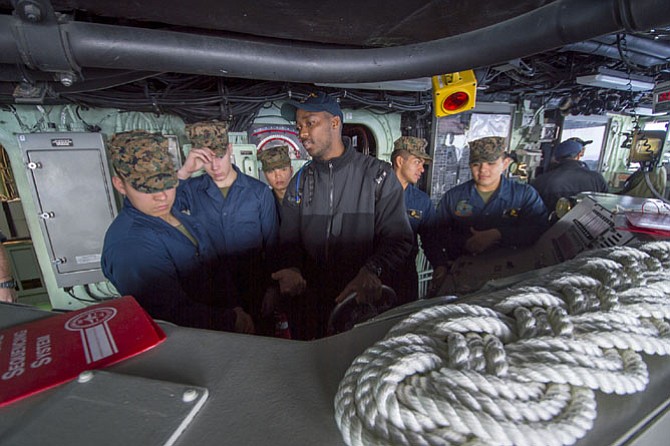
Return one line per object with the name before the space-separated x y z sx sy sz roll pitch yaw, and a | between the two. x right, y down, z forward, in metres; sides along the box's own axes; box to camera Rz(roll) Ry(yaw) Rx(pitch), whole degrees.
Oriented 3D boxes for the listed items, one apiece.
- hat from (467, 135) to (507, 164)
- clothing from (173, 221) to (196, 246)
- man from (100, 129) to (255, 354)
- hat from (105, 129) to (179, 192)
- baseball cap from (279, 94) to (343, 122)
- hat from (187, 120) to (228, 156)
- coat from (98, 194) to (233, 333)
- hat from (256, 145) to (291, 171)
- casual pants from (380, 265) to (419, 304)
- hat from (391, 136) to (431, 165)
hat | 1.376 -0.657 3.462 0.241 0.136 0.321 0 8 36
clothing | -0.979 0.079 2.575 0.116 0.138 0.118 -24 2 22
man | -0.963 0.123 2.433 1.070 1.191 0.705 11 23 18
hat | -1.193 -0.412 2.323 0.471 0.193 0.331 42 46 14
baseball cap | -0.191 -0.845 2.750 0.313 0.208 0.445 -12 14 1
hat | -1.022 -0.689 3.064 0.334 0.327 0.118 -15 -7 -5
coat | -1.134 0.151 2.570 0.728 0.461 1.590 3 16 -29
hat | -0.598 -0.632 3.685 0.281 0.121 0.307 -13 16 -6
casual pants | 0.581 0.522 3.332 0.459 0.377 0.102 -7 12 -27
hat | 0.733 -0.683 3.602 0.355 0.166 0.232 15 10 16
